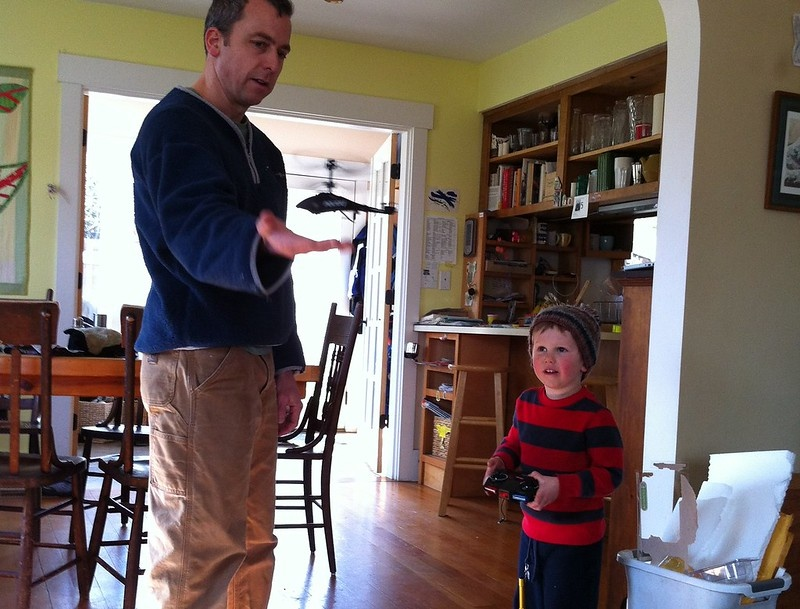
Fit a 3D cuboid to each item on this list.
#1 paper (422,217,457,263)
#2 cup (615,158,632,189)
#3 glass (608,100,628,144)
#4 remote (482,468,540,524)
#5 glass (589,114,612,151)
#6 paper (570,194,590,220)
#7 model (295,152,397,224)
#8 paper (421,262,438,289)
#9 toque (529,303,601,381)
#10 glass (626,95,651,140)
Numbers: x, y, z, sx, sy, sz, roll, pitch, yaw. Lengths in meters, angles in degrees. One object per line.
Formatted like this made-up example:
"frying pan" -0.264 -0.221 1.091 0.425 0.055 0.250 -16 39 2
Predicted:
"paper" 0.299 -0.509 5.218 0.330 0.467 0.023 1 -2 -26
"cup" 1.464 -0.861 4.328 0.111 0.203 0.066 1 -2 24
"glass" 1.471 -1.205 4.412 0.083 0.320 0.151 2 -2 2
"remote" 0.311 0.523 1.868 0.127 0.095 0.167 2 -2 -6
"glass" 1.389 -1.189 4.548 0.149 0.248 0.083 1 -2 28
"paper" 1.256 -0.682 4.580 0.161 0.158 0.130 1 -2 37
"model" -0.300 -0.675 3.694 0.546 0.318 0.298 2 4 -12
"paper" 0.224 -0.226 5.194 0.184 0.273 0.025 1 -3 -19
"toque" 0.573 0.089 2.197 0.185 0.228 0.242 5 -36 29
"glass" 1.576 -1.211 4.322 0.163 0.280 0.171 0 8 22
